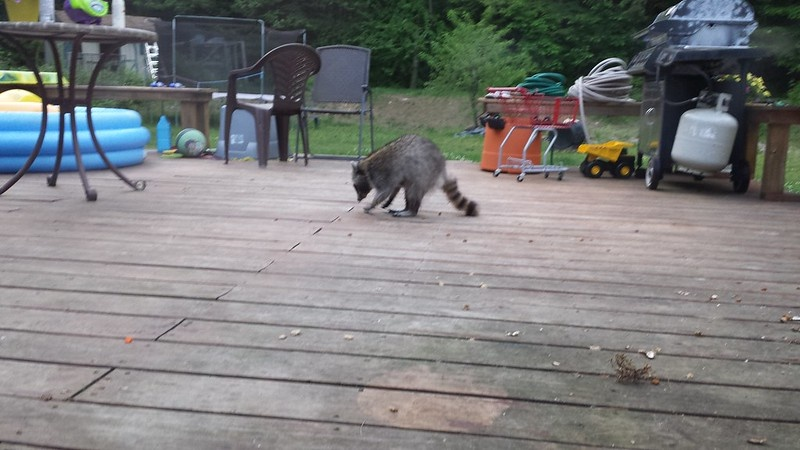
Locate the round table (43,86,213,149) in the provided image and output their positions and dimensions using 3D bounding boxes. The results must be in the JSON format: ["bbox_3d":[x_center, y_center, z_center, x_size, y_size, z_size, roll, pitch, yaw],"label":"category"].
[{"bbox_3d":[-3.374,-1.363,7.787,2.463,1.061,0.684,1,6,2],"label":"round table"}]

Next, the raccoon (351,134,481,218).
[{"bbox_3d":[0.154,-0.389,5.107,1.174,0.593,0.410,-1,15,-5],"label":"raccoon"}]

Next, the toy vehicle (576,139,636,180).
[{"bbox_3d":[2.503,-0.799,7.414,0.646,0.393,0.437,-3,15,1],"label":"toy vehicle"}]

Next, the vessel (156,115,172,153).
[{"bbox_3d":[-3.257,-1.247,8.502,0.181,0.451,0.653,-4,18,-21],"label":"vessel"}]

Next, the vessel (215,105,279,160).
[{"bbox_3d":[-1.974,-1.220,8.182,0.833,0.685,0.793,2,4,10],"label":"vessel"}]

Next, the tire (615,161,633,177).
[{"bbox_3d":[2.638,-0.663,7.265,0.179,0.160,0.059,-8,22,-27],"label":"tire"}]

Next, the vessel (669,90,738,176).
[{"bbox_3d":[3.016,-0.909,6.063,0.535,0.752,0.280,10,19,23],"label":"vessel"}]
